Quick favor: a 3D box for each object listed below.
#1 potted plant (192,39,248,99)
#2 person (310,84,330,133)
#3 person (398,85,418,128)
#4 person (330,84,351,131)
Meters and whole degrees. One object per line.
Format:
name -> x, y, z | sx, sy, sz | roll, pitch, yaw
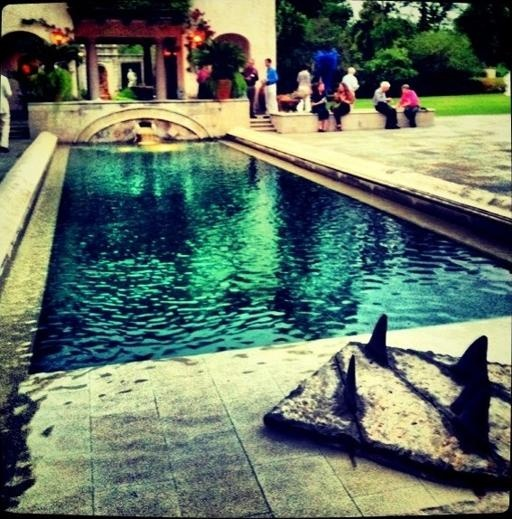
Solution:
potted plant -> -1.543, -7.097, 19.050 | 2.114, 2.171, 1.088 | 8, 18, 32
person -> 2.416, -5.686, 18.846 | 0.634, 1.906, 1.371 | 1, 15, 8
person -> 5.737, -5.727, 19.057 | 0.782, 1.585, 1.273 | 3, 15, 15
person -> 3.176, -5.629, 18.767 | 0.814, 1.737, 0.831 | -1, 16, -1
